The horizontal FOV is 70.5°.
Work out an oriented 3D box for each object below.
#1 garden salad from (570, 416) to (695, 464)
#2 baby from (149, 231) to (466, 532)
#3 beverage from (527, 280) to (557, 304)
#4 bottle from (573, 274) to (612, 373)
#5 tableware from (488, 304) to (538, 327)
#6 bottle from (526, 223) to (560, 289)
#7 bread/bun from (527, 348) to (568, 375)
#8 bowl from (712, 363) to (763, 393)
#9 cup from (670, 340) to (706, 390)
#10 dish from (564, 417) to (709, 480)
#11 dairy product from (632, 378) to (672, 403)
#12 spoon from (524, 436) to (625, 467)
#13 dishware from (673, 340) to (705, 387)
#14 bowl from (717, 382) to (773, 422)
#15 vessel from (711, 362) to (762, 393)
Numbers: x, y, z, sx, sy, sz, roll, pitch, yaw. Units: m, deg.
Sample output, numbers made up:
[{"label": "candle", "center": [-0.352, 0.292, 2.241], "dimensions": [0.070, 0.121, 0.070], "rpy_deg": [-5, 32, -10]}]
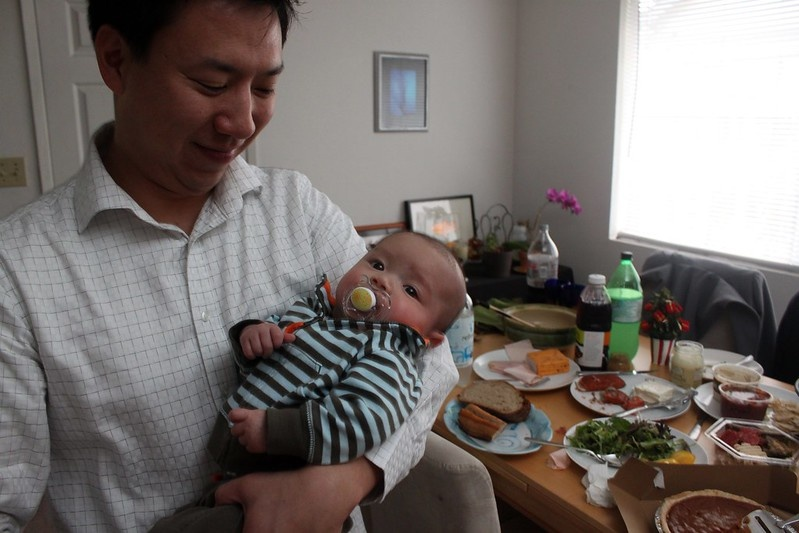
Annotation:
[{"label": "garden salad", "center": [0.706, 0.546, 1.787], "dimensions": [0.194, 0.049, 0.165], "rpy_deg": [3, 9, 10]}, {"label": "baby", "center": [-0.269, 0.282, 1.477], "dimensions": [0.911, 0.308, 0.403], "rpy_deg": [-34, 52, -23]}, {"label": "beverage", "center": [0.717, 0.127, 2.822], "dimensions": [0.145, 0.109, 0.096], "rpy_deg": [5, 11, 31]}, {"label": "bottle", "center": [0.765, 0.217, 2.233], "dimensions": [0.132, 0.420, 0.133], "rpy_deg": [-4, 26, 2]}, {"label": "tableware", "center": [0.492, 0.220, 2.455], "dimensions": [0.132, 0.033, 0.106], "rpy_deg": [29, 5, 20]}, {"label": "bottle", "center": [0.802, -0.065, 3.247], "dimensions": [0.159, 0.331, 0.227], "rpy_deg": [6, 15, 34]}, {"label": "bread/bun", "center": [0.587, 0.367, 2.226], "dimensions": [0.099, 0.039, 0.105], "rpy_deg": [-3, 12, -15]}, {"label": "bowl", "center": [1.206, 0.392, 2.019], "dimensions": [0.113, 0.043, 0.115], "rpy_deg": [0, 14, 0]}, {"label": "cup", "center": [1.086, 0.377, 2.143], "dimensions": [0.114, 0.179, 0.113], "rpy_deg": [-4, 11, 1]}, {"label": "dish", "center": [0.710, 0.590, 1.767], "dimensions": [0.232, 0.036, 0.237], "rpy_deg": [9, 21, 4]}, {"label": "dairy product", "center": [0.910, 0.444, 2.032], "dimensions": [0.085, 0.031, 0.087], "rpy_deg": [3, 9, 43]}, {"label": "spoon", "center": [0.559, 0.587, 1.789], "dimensions": [0.258, 0.035, 0.053], "rpy_deg": [8, 37, 35]}, {"label": "dishware", "center": [1.086, 0.375, 2.142], "dimensions": [0.141, 0.176, 0.144], "rpy_deg": [3, 15, 26]}, {"label": "bowl", "center": [1.177, 0.477, 1.938], "dimensions": [0.167, 0.086, 0.169], "rpy_deg": [3, 1, 0]}, {"label": "vessel", "center": [1.204, 0.371, 2.023], "dimensions": [0.113, 0.042, 0.115], "rpy_deg": [-2, 14, -7]}]
